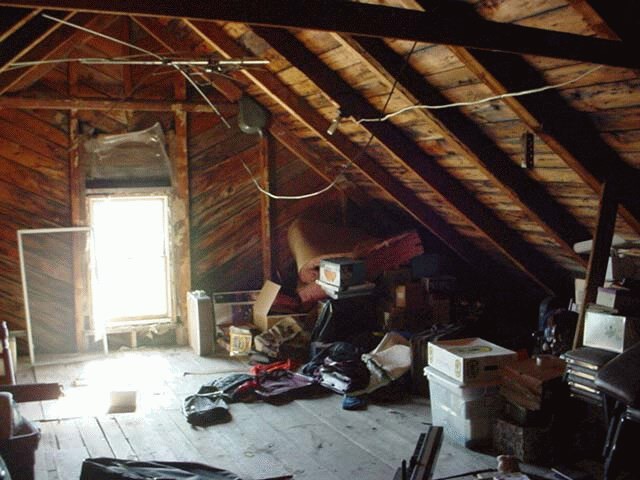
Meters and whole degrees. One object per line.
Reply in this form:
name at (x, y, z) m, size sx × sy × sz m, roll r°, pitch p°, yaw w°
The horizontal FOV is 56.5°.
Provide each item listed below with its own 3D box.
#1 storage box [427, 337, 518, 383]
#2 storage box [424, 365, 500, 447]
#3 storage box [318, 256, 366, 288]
storage box at (1.181, 0.888, 4.544) m, size 0.614 × 0.143 × 0.529 m, roll -1°, pitch 9°, yaw -12°
storage box at (1.197, 1.265, 4.583) m, size 0.655 × 0.421 × 0.701 m, roll 4°, pitch 2°, yaw -9°
storage box at (0.241, 0.318, 6.127) m, size 0.330 × 0.282 × 0.417 m, roll -6°, pitch 11°, yaw -26°
